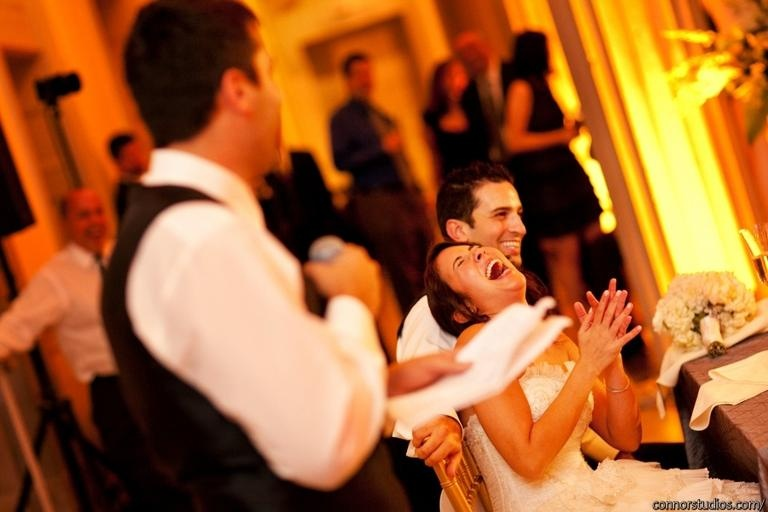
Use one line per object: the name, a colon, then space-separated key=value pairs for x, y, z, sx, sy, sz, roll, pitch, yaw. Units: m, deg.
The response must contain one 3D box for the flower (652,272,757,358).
flower: x=1.367 y=0.215 z=2.759 sx=0.341 sy=0.224 sz=0.366 roll=-12 pitch=12 yaw=24
